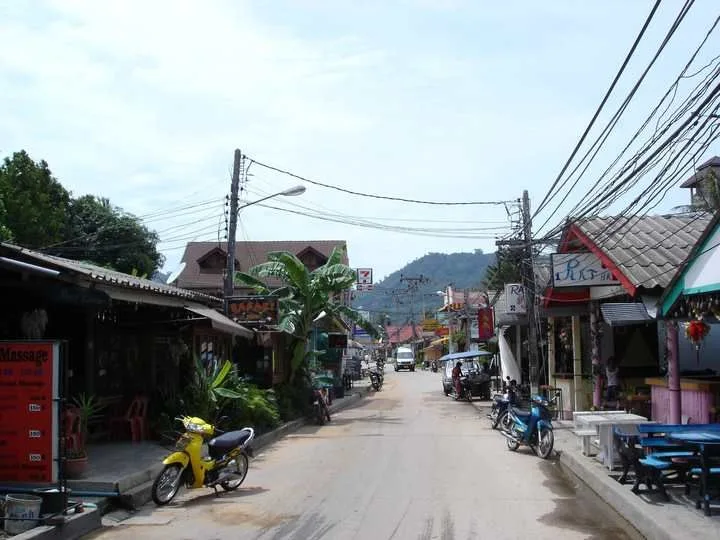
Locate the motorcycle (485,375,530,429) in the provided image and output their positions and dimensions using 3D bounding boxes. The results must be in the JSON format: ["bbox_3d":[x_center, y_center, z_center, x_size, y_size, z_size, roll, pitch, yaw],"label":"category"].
[{"bbox_3d":[4.351,4.037,19.449,1.054,1.546,2.299,14,-11,-1],"label":"motorcycle"}]

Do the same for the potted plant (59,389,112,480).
[{"bbox_3d":[-5.339,3.276,13.067,0.835,1.526,0.701,-3,-11,-20],"label":"potted plant"}]

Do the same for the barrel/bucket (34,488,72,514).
[{"bbox_3d":[-4.630,3.461,9.837,0.365,0.276,0.395,0,-19,0],"label":"barrel/bucket"}]

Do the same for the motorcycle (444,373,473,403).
[{"bbox_3d":[4.899,5.612,31.004,0.717,1.302,2.065,-1,-13,0],"label":"motorcycle"}]

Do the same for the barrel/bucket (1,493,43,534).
[{"bbox_3d":[-5.031,3.620,9.701,0.637,0.548,0.333,-3,-11,6],"label":"barrel/bucket"}]

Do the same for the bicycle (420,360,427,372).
[{"bbox_3d":[8.761,12.904,88.010,0.653,0.930,1.567,-1,-18,1],"label":"bicycle"}]

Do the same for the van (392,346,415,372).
[{"bbox_3d":[5.495,10.578,76.825,1.598,2.077,3.644,-1,-16,1],"label":"van"}]

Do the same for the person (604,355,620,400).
[{"bbox_3d":[7.452,3.171,19.161,0.349,1.316,0.857,-5,-12,20],"label":"person"}]

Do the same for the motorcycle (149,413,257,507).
[{"bbox_3d":[-2.763,3.413,12.122,0.863,1.648,2.365,5,-4,35],"label":"motorcycle"}]

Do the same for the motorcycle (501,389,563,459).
[{"bbox_3d":[4.307,3.772,16.190,0.854,1.513,2.290,9,-7,-5],"label":"motorcycle"}]
